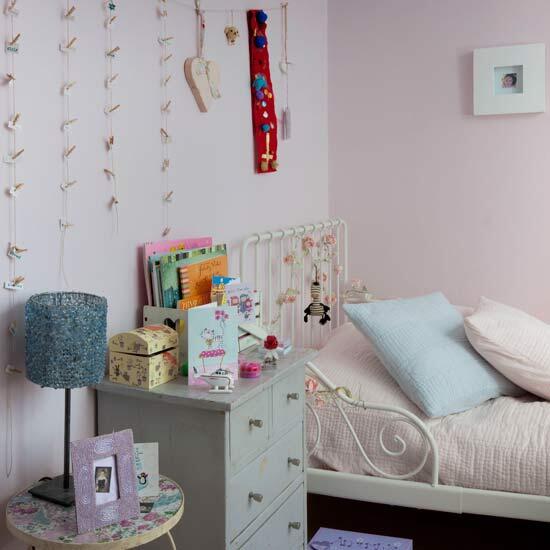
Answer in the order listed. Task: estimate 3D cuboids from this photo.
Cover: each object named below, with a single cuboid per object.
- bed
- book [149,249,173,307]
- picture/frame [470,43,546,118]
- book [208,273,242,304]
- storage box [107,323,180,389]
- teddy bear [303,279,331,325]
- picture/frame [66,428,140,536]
[{"bbox_3d":[0.387,0.185,2.142,0.963,0.751,0.914,3,9,24],"label":"bed"},{"bbox_3d":[-0.313,0.016,1.694,0.018,0.199,0.139,0,1,20],"label":"book"},{"bbox_3d":[1.109,-0.915,2.922,0.308,0.360,0.012,1,6,21],"label":"picture/frame"},{"bbox_3d":[-0.149,0.044,1.801,0.030,0.095,0.078,-5,-2,41],"label":"book"},{"bbox_3d":[-0.325,0.171,1.525,0.115,0.138,0.165,1,4,23],"label":"storage box"},{"bbox_3d":[0.181,0.122,2.728,0.125,0.182,0.151,-3,1,-16],"label":"teddy bear"},{"bbox_3d":[-0.319,0.394,1.160,0.142,0.193,0.015,6,-21,-44],"label":"picture/frame"}]
